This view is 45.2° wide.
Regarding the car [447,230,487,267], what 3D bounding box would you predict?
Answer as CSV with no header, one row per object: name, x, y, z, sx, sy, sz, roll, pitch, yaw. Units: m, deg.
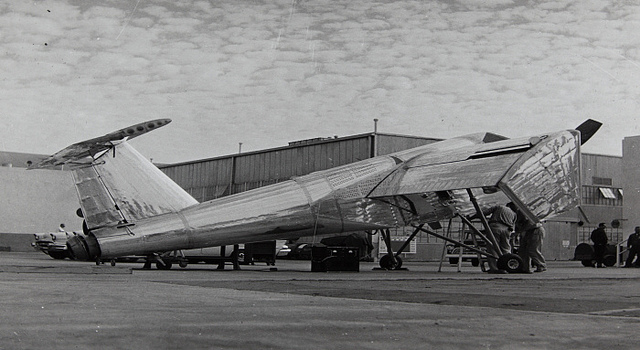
car,9.770,4.400,46.854,3.323,1.736,4.693,-5,-7,18
